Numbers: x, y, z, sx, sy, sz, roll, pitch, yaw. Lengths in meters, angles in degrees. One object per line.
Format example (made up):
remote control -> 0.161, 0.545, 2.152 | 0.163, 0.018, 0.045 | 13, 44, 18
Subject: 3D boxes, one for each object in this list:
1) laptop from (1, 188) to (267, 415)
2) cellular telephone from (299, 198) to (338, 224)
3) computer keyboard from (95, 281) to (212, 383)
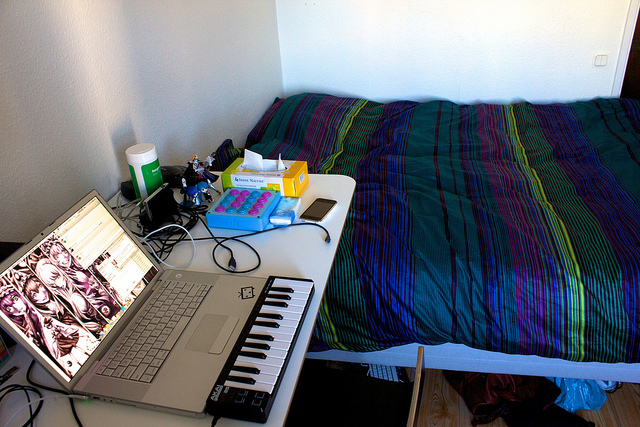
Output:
laptop -> -0.525, 0.283, 1.278 | 0.606, 0.425, 0.536 | 4, 46, 13
cellular telephone -> -0.005, -0.006, 1.579 | 0.085, 0.015, 0.146 | 13, 41, 24
computer keyboard -> -0.453, 0.303, 1.235 | 0.419, 0.208, 0.027 | -53, 40, 12
